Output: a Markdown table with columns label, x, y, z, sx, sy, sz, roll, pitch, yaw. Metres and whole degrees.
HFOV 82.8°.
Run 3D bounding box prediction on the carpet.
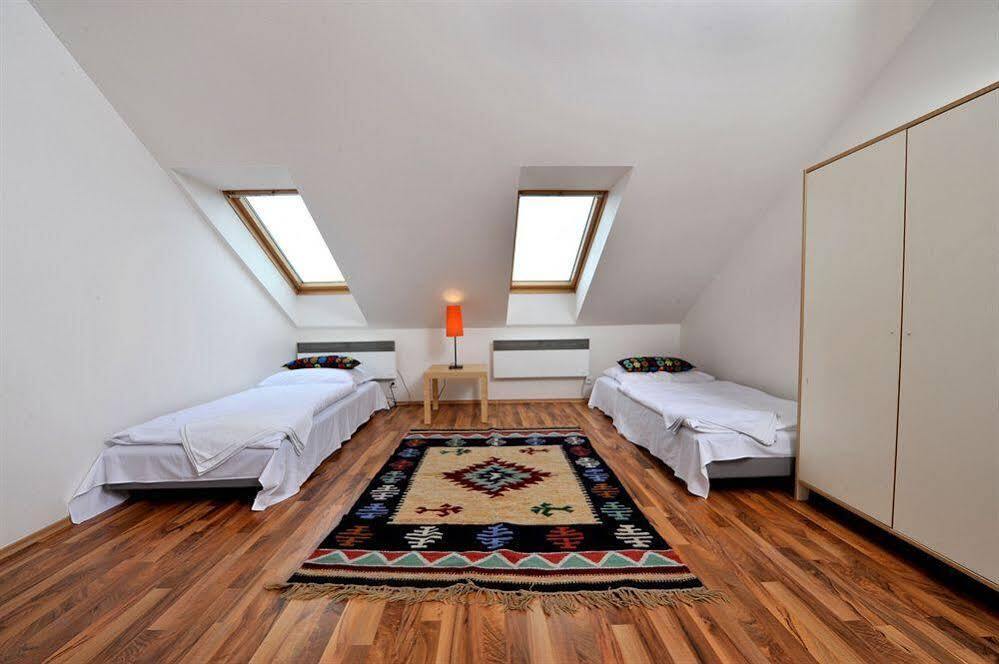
| label | x | y | z | sx | sy | sz | roll | pitch | yaw |
| --- | --- | --- | --- | --- | --- | --- | --- | --- | --- |
| carpet | -0.027 | 1.336 | 4.100 | 2.429 | 0.210 | 1.670 | 0 | 12 | 4 |

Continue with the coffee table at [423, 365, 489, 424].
| label | x | y | z | sx | sy | sz | roll | pitch | yaw |
| --- | --- | --- | --- | --- | --- | --- | --- | --- | --- |
| coffee table | -0.484 | 0.661 | 6.237 | 0.649 | 0.455 | 0.647 | 0 | 2 | 1 |
